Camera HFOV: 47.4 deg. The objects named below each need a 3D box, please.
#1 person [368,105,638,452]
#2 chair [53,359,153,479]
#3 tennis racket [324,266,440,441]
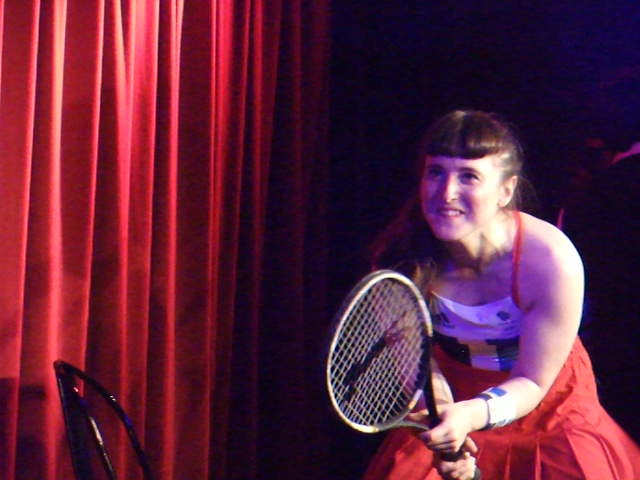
[{"bbox_3d":[0.577,0.146,2.701,0.757,1.187,1.064,-4,0,31],"label":"person"},{"bbox_3d":[-0.555,0.454,1.815,0.256,0.247,0.148,4,-4,25],"label":"chair"},{"bbox_3d":[0.171,0.335,2.217,0.362,0.478,0.493,6,-4,-6],"label":"tennis racket"}]
